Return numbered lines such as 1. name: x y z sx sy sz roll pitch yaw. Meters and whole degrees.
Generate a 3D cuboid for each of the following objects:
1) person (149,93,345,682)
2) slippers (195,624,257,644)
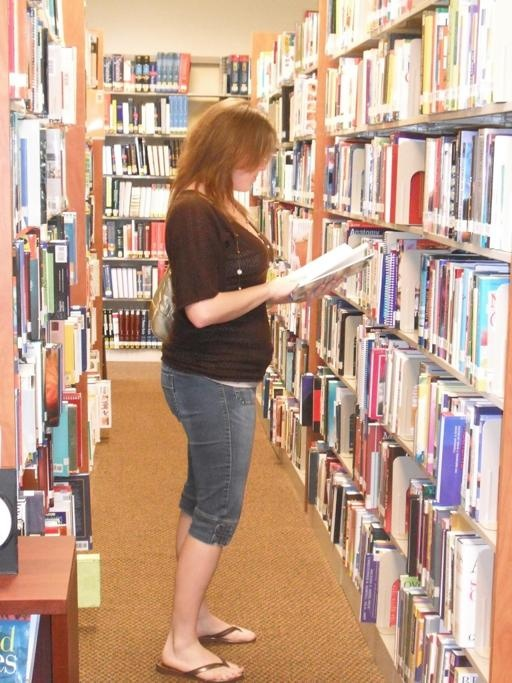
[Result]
1. person: -0.087 0.209 1.790 0.356 1.676 0.493 0 7 -10
2. slippers: -0.087 0.983 2.118 0.167 0.053 0.075 -2 4 -11
